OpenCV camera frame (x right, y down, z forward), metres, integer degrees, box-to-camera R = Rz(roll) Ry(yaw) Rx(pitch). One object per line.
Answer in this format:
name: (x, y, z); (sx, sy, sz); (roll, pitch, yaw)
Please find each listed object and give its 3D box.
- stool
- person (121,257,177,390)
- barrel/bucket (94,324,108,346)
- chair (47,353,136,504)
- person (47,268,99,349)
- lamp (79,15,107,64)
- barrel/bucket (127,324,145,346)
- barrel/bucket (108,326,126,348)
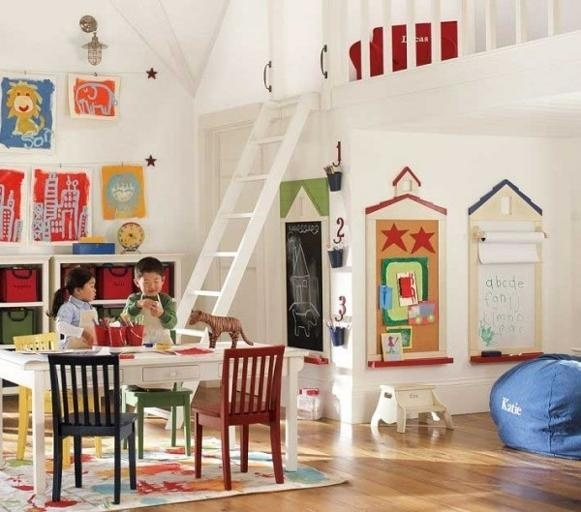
stool: (0.885, 1.047, 4.803); (0.371, 0.280, 0.419); (1, -6, -26)
person: (-0.849, 0.433, 3.945); (0.312, 0.842, 0.325); (-5, 13, -23)
barrel/bucket: (-1.033, 0.431, 3.551); (0.096, 0.128, 0.099); (0, 0, 0)
chair: (-1.022, 0.838, 3.405); (0.425, 0.734, 0.804); (1, -2, -14)
person: (-1.304, 0.299, 3.882); (0.267, 0.462, 0.720); (1, -2, -21)
lamp: (-1.826, -2.011, 5.957); (0.324, 0.551, 0.173); (-6, 15, -25)
barrel/bucket: (-0.846, 0.427, 3.537); (0.090, 0.097, 0.093); (1, 3, 0)
barrel/bucket: (-0.935, 0.432, 3.490); (0.089, 0.109, 0.088); (1, 0, 0)
